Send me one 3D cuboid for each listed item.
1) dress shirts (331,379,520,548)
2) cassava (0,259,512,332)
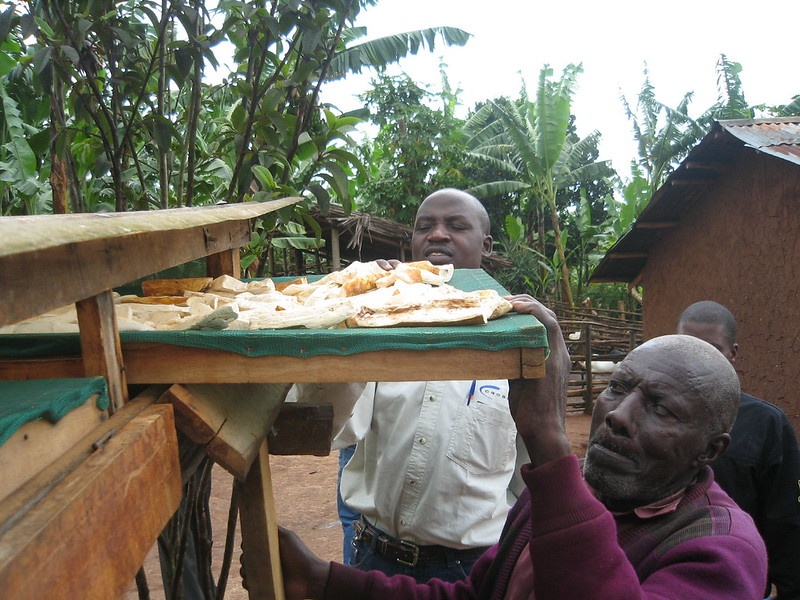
[{"bbox_3d":[0.146,0.713,2.702,0.774,0.765,0.428,2,-27,6],"label":"dress shirts"},{"bbox_3d":[-0.311,-0.034,2.163,1.280,0.238,0.957,4,5,-5],"label":"cassava"}]
